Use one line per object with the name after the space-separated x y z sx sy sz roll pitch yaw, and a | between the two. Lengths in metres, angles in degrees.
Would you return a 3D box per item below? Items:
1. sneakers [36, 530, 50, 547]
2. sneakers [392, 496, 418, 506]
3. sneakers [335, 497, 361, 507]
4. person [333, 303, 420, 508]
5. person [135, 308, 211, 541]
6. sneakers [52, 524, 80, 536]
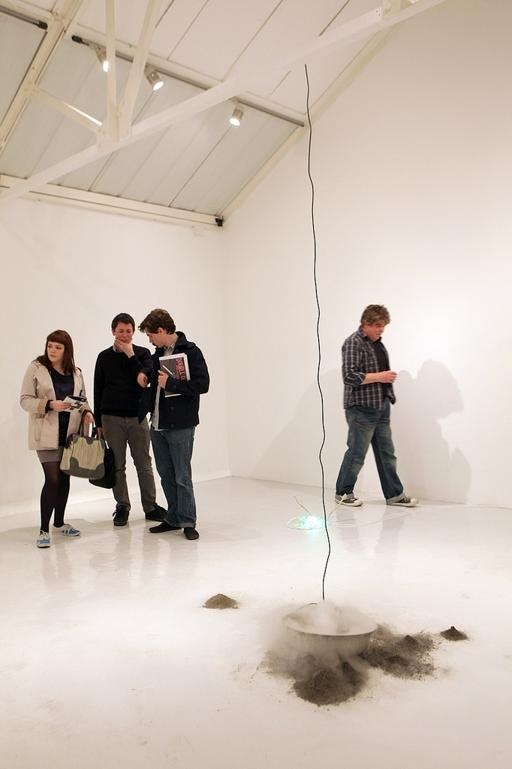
-1.203 0.885 3.230 0.046 0.056 0.123 3 -8 -23 | sneakers
1.035 0.817 3.968 0.156 0.061 0.062 -4 -4 23 | sneakers
0.666 0.847 4.123 0.164 0.065 0.065 -2 -3 28 | sneakers
0.834 0.152 4.072 0.528 1.451 0.307 0 -1 7 | person
-0.498 0.234 3.375 0.391 1.349 0.446 0 -1 -11 | person
-1.156 0.888 3.487 0.167 0.070 0.063 2 -2 12 | sneakers
